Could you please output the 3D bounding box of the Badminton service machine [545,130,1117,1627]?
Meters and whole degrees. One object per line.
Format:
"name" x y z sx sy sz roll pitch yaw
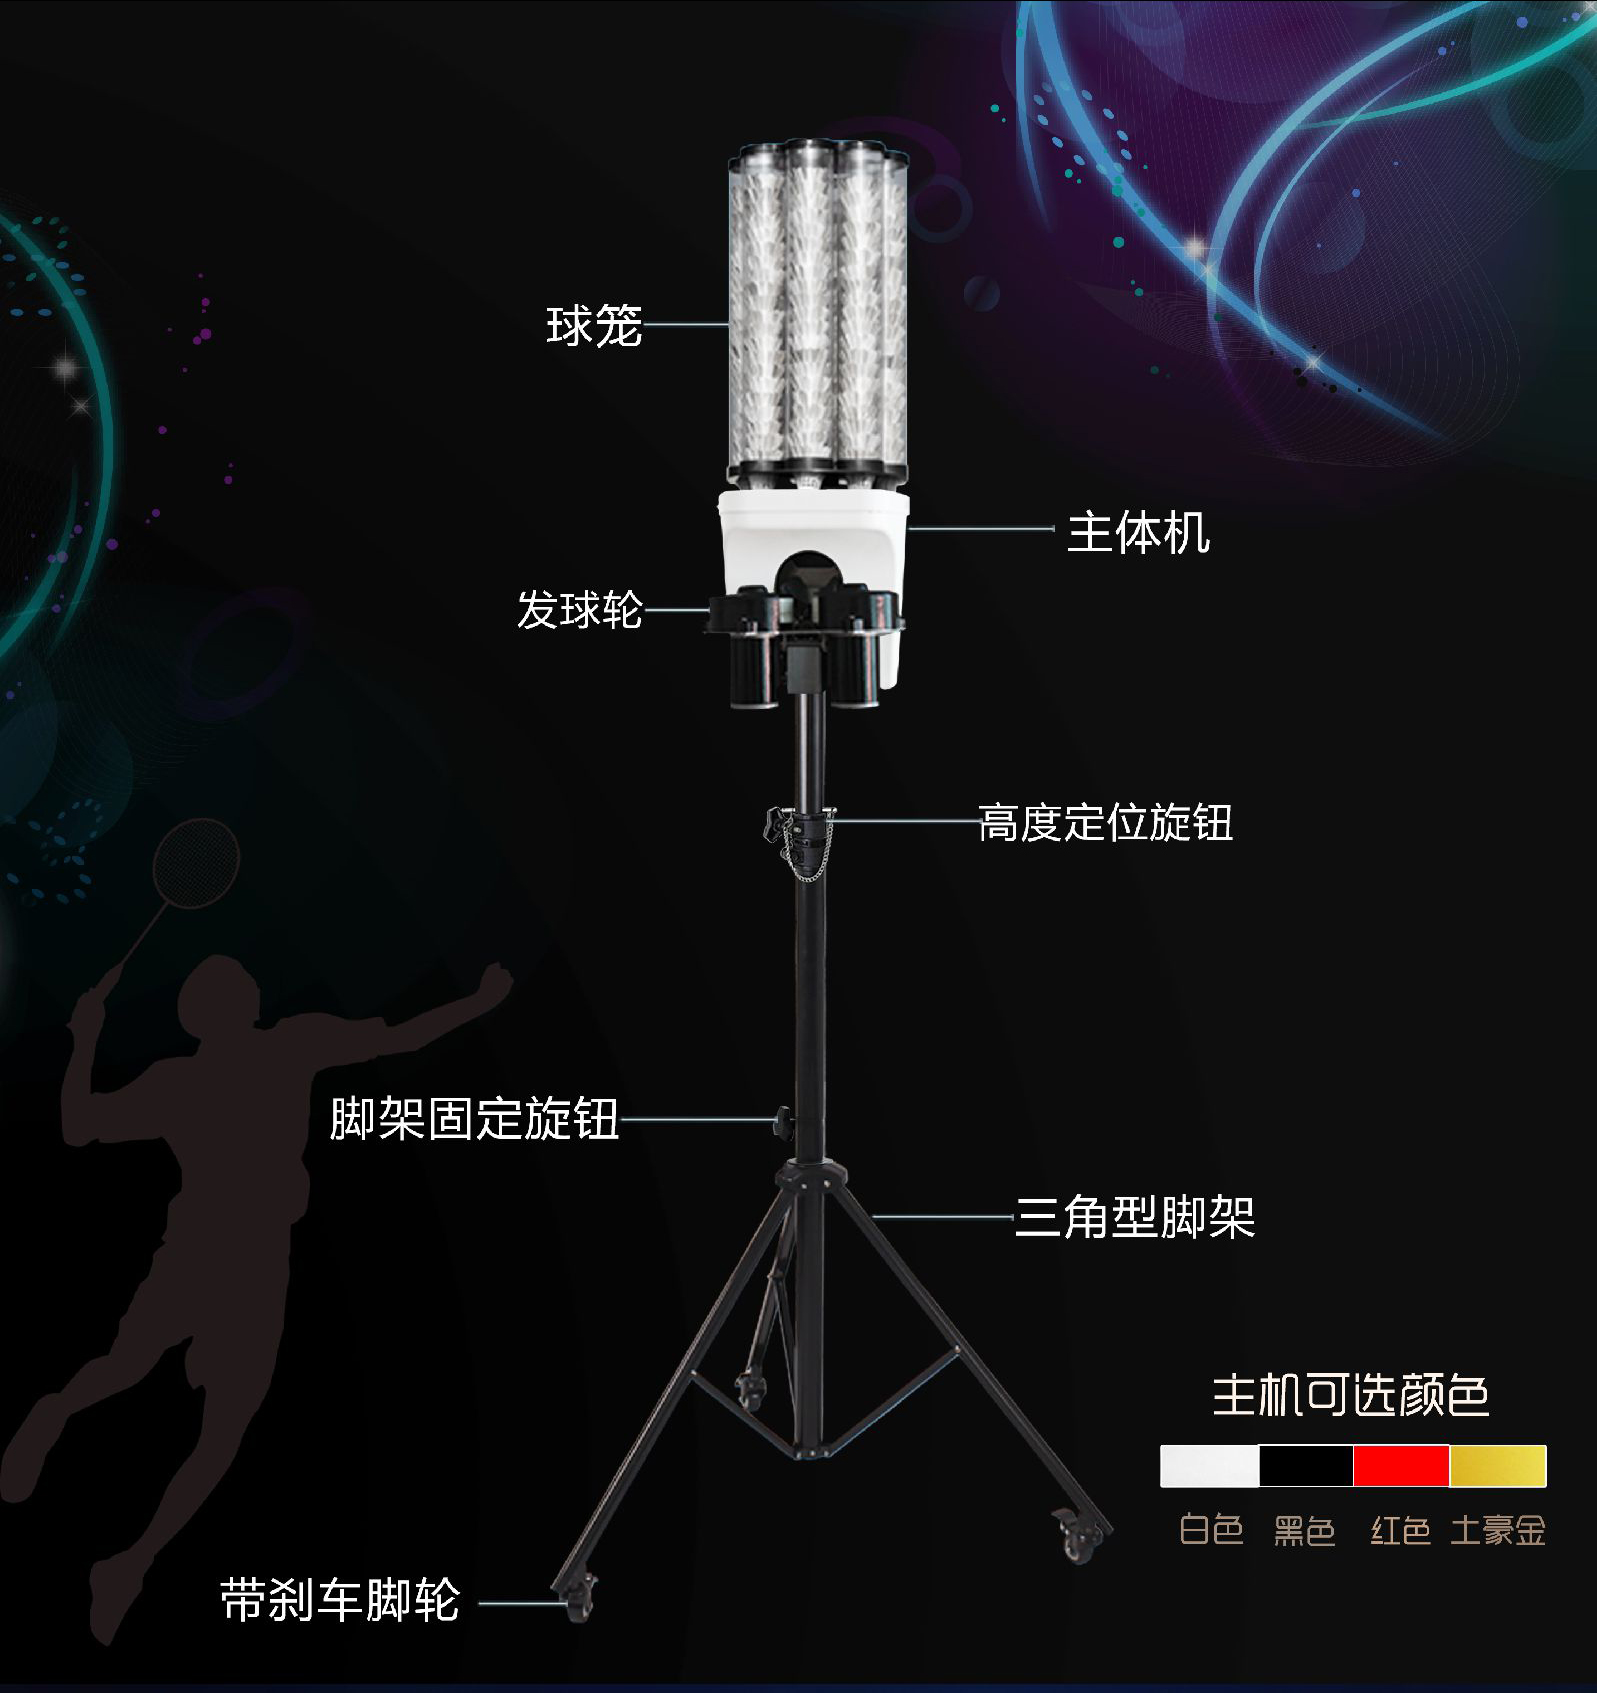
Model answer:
"Badminton service machine" 0.039 -0.003 3.040 0.661 2.010 0.376 0 3 6
